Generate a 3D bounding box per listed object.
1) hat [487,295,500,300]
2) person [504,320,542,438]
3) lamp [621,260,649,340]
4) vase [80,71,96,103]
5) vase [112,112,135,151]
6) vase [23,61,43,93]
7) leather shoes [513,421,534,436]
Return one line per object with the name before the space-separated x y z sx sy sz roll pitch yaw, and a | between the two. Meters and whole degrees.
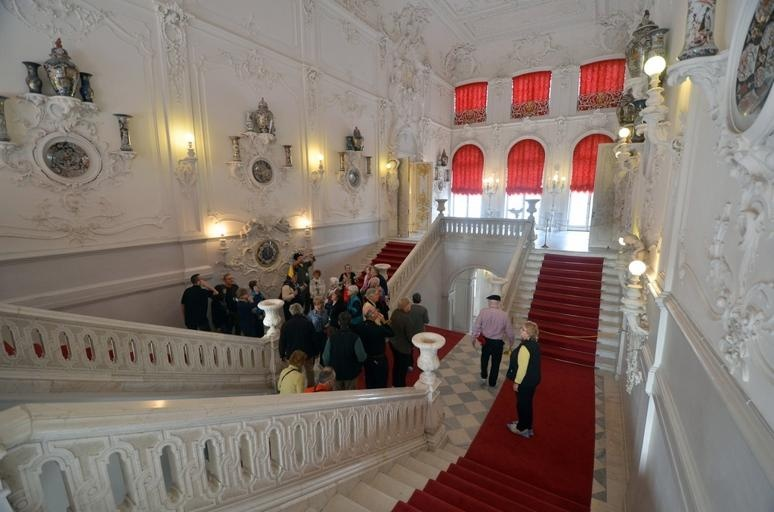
hat | 1.705 0.663 6.940 0.167 0.067 0.119 5 11 21
person | 1.896 1.716 6.075 0.394 1.762 0.661 2 7 15
lamp | 2.979 0.496 5.258 0.293 0.949 0.221 2 35 28
vase | -4.741 -2.664 6.880 0.190 0.459 0.242 -5 8 -32
vase | -4.372 -2.081 7.309 0.186 0.624 0.285 5 9 39
vase | -5.209 -2.645 6.432 0.203 0.468 0.217 -6 9 -37
leather shoes | 1.942 2.493 6.235 0.143 0.111 0.288 -18 29 -34
